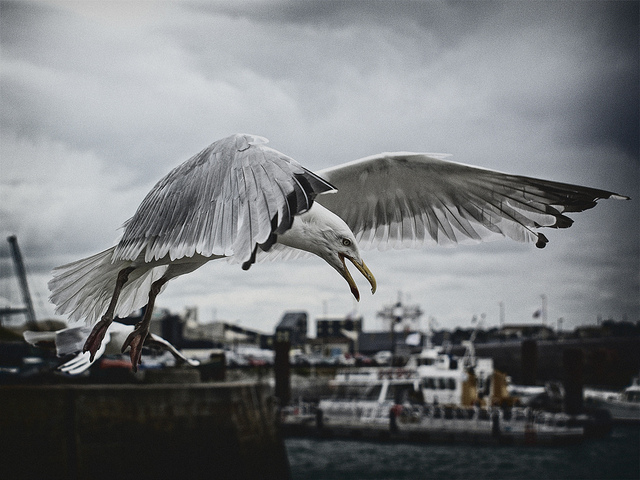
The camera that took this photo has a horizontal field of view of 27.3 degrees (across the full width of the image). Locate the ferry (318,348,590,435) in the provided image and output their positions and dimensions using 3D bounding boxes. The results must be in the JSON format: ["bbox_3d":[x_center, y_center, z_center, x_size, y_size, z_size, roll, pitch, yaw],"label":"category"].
[{"bbox_3d":[2.064,2.598,22.908,5.732,1.632,1.730,-1,0,23],"label":"ferry"}]
